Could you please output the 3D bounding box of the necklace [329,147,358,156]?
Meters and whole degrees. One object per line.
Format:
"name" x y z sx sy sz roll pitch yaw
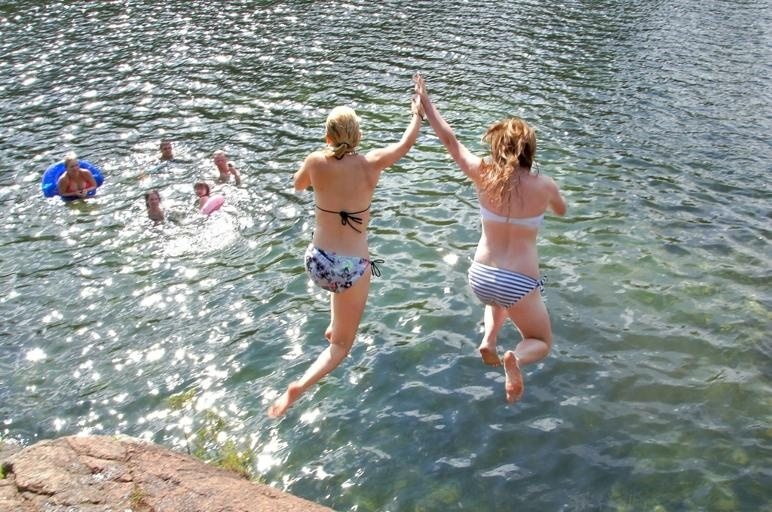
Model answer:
"necklace" -0.837 -2.065 13.859 0.534 0.175 0.183 2 36 -10

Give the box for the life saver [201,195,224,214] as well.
"life saver" -4.814 -1.444 19.537 0.499 0.356 0.718 17 34 11

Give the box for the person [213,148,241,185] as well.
"person" -4.603 -2.595 20.500 0.702 0.777 0.980 -2 36 -16

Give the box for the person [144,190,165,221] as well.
"person" -6.362 -1.399 19.329 0.458 0.778 0.649 -4 38 -19
